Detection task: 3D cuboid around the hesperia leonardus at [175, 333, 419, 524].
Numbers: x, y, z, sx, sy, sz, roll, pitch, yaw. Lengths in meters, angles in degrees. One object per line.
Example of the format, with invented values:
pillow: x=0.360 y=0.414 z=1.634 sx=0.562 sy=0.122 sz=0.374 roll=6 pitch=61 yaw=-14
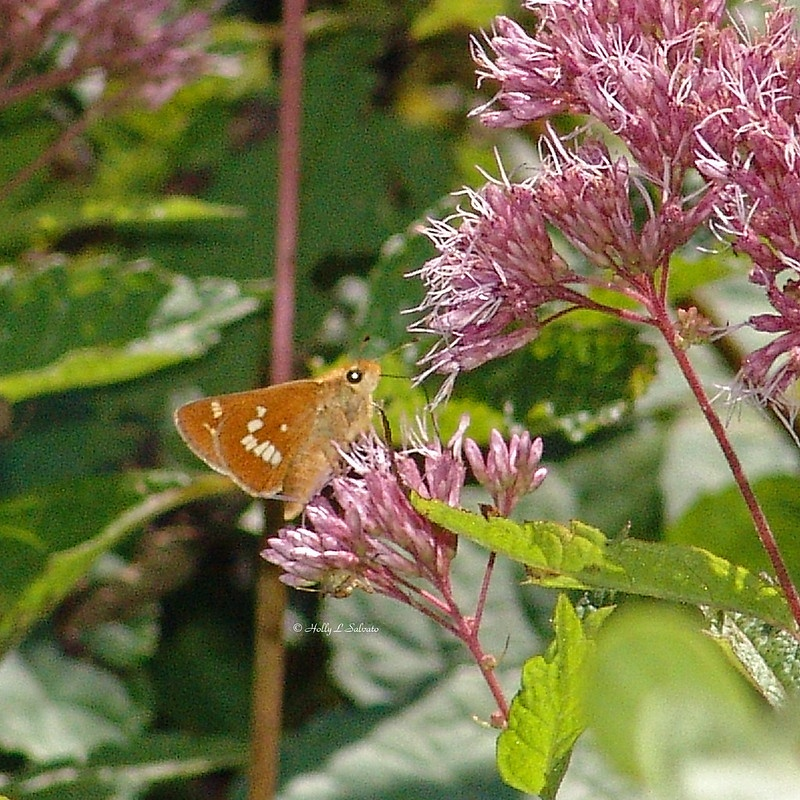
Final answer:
hesperia leonardus: x=-0.191 y=0.052 z=2.286 sx=0.365 sy=0.302 sz=0.156 roll=-36 pitch=69 yaw=1
